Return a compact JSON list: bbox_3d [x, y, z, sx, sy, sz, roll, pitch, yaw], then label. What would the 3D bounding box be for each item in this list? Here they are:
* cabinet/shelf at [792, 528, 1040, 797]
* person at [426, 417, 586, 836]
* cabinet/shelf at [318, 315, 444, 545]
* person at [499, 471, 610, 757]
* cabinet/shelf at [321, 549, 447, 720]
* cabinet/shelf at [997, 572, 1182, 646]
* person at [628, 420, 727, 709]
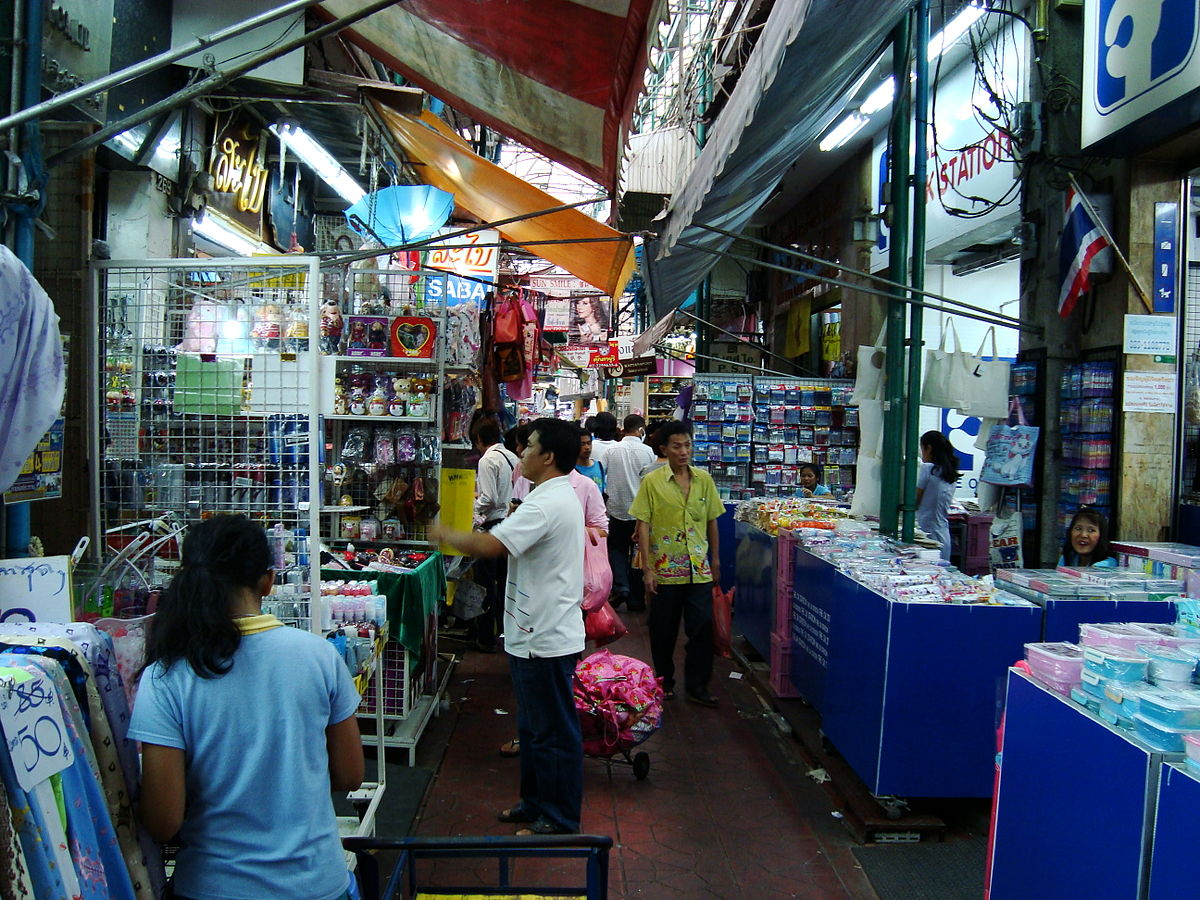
[{"bbox_3d":[1.641,1.041,5.510,0.808,1.134,1.678,1,1,4],"label":"cabinet/shelf"},{"bbox_3d":[-0.334,0.869,4.906,0.515,1.999,0.605,0,6,-1],"label":"person"},{"bbox_3d":[-1.369,-0.119,6.609,0.754,1.437,0.496,-1,6,-16],"label":"cabinet/shelf"},{"bbox_3d":[-0.206,0.843,5.181,0.523,2.145,0.748,2,-23,-1],"label":"person"},{"bbox_3d":[-1.104,0.920,5.314,0.786,0.413,1.448,2,10,1],"label":"cabinet/shelf"},{"bbox_3d":[2.422,0.762,5.107,0.782,0.277,0.556,1,7,6],"label":"cabinet/shelf"},{"bbox_3d":[0.499,0.720,6.710,0.609,1.790,0.402,0,6,-8],"label":"person"}]
